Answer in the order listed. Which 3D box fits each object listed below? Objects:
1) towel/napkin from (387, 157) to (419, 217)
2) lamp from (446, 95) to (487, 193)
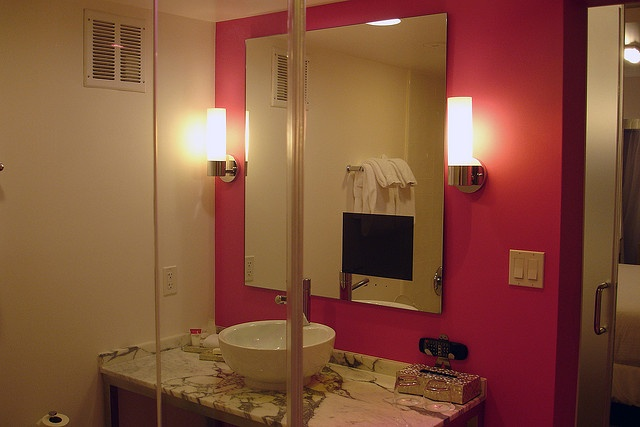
[{"bbox_3d":[0.364,-0.125,2.283,0.173,0.355,0.059,15,28,39],"label":"towel/napkin"},{"bbox_3d":[0.592,-0.273,2.125,0.156,0.379,0.069,-1,5,-15],"label":"lamp"}]
